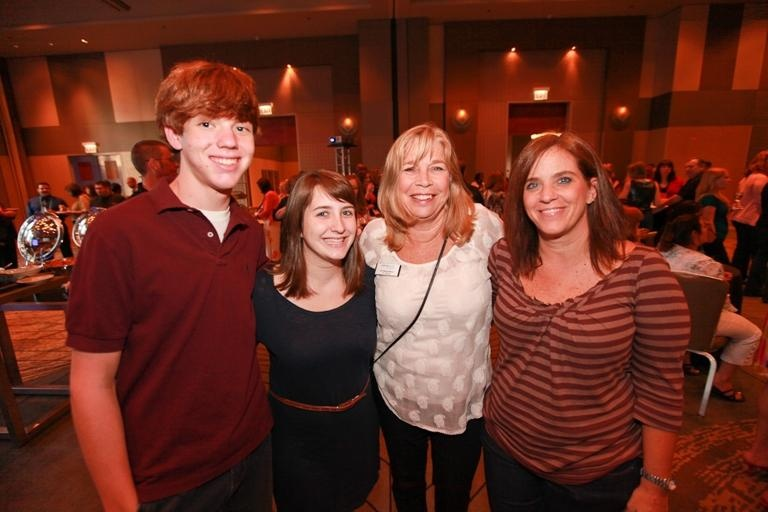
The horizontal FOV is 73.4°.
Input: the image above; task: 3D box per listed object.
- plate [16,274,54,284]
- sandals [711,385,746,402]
[{"bbox_3d":[-3.560,0.230,5.292,0.318,0.047,0.211,-11,14,-32],"label":"plate"},{"bbox_3d":[3.695,1.490,5.544,0.159,0.071,0.281,-5,4,-42],"label":"sandals"}]
